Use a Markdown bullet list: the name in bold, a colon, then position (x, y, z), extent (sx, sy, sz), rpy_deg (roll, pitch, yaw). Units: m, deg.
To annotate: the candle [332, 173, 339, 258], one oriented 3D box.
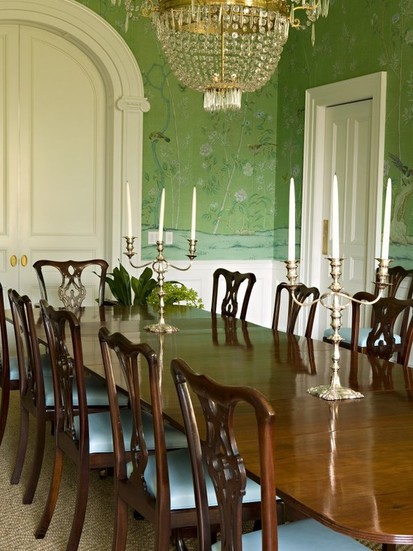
- **candle**: position (0.317, -0.141, 1.095), extent (0.017, 0.201, 0.096), rpy_deg (1, 7, 16)
